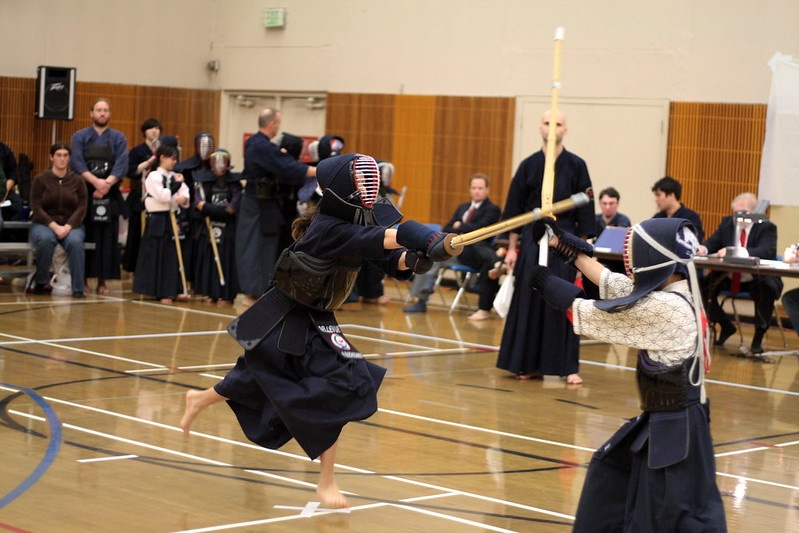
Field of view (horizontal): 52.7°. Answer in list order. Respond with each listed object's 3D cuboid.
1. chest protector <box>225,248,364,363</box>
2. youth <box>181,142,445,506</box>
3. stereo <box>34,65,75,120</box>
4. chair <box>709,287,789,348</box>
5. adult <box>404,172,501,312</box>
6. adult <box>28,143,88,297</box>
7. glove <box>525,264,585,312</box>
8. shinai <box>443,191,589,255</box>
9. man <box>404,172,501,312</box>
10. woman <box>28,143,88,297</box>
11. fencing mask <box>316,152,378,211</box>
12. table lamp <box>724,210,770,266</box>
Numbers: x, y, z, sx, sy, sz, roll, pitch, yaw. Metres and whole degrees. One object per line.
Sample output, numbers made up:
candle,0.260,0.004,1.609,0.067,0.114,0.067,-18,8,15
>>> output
chest protector,-0.486,0.197,4.542,0.594,0.682,0.519,-2,13,-44
youth,-0.426,0.358,4.459,1.337,1.971,0.439,6,8,19
stereo,-5.383,-2.765,12.492,0.443,0.790,0.563,23,21,38
chair,4.288,0.556,9.725,0.902,0.918,0.751,-1,-3,4
adult,0.742,-0.300,10.493,1.103,1.893,1.158,5,0,7
adult,-4.162,-0.576,9.789,0.694,1.844,0.518,0,9,-22
glove,0.802,0.121,4.176,0.293,0.185,0.124,38,10,15
shinai,0.639,-0.273,4.175,1.113,0.165,0.155,-22,24,-37
man,0.830,-0.260,10.517,1.131,1.895,1.143,5,-2,21
woman,-4.162,-0.576,9.789,0.694,1.844,0.518,0,9,-22
fencing mask,-0.301,-0.460,4.384,0.333,0.274,0.252,4,12,20
table lamp,3.641,-0.336,8.544,0.420,0.514,0.847,7,9,24
